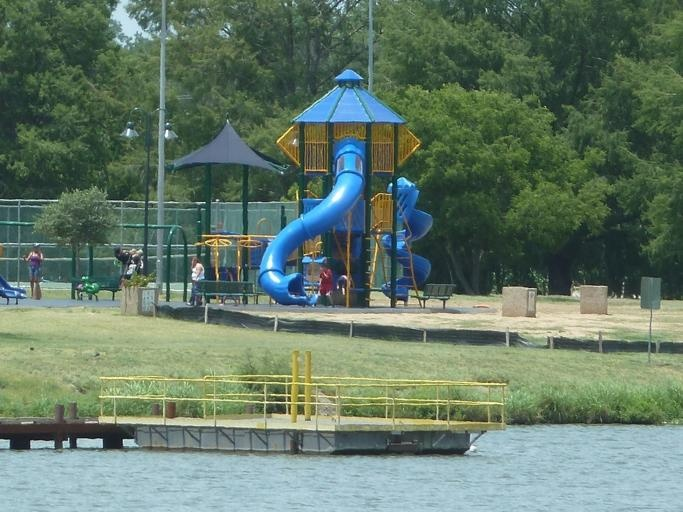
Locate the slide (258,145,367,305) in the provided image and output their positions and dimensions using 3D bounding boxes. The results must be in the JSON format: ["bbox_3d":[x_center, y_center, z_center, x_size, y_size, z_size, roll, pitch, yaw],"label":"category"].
[{"bbox_3d":[-1.295,-1.717,108.220,5.505,8.443,2.074,1,-3,-24],"label":"slide"}]

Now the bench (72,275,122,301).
[{"bbox_3d":[-12.835,1.787,113.503,2.461,1.229,4.131,0,-3,-8],"label":"bench"}]

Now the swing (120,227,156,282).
[{"bbox_3d":[-10.566,0.315,111.797,1.371,3.749,1.259,-1,2,-13],"label":"swing"}]
